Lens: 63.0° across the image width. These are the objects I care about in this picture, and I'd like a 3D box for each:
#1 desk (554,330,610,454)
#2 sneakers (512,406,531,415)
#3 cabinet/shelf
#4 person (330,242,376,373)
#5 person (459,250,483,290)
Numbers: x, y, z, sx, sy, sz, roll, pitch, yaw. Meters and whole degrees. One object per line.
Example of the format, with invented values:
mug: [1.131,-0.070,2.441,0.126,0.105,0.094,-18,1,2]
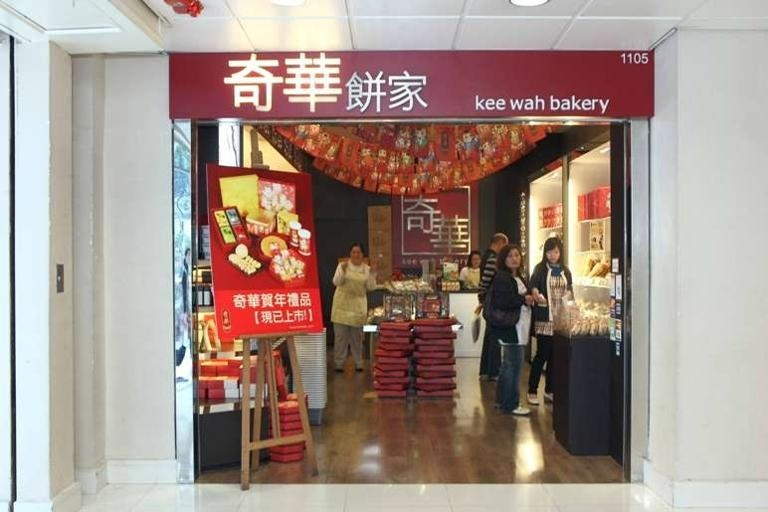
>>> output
desk: [1.930,1.318,6.023,0.446,1.343,1.141,0,-1,5]
sneakers: [1.577,1.784,7.206,0.158,0.069,0.093,-1,-1,-3]
cabinet/shelf: [2.419,-0.318,8.099,0.741,2.304,2.363,-1,9,-4]
person: [-0.468,0.790,9.246,0.620,1.951,1.094,-1,4,-6]
person: [1.430,0.262,10.310,0.374,0.956,0.281,9,-41,7]
